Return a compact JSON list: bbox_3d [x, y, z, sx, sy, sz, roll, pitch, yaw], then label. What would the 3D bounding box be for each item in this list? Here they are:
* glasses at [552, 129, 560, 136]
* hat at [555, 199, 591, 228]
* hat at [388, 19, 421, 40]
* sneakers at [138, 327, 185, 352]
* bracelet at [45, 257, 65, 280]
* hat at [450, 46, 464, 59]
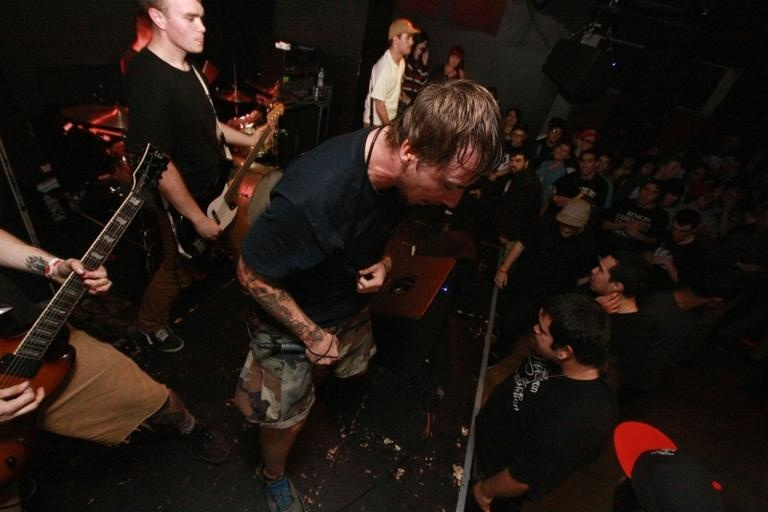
[{"bbox_3d":[1.323,-0.938,4.064,0.043,0.018,0.044,8,26,-5],"label":"glasses"},{"bbox_3d":[1.301,-0.286,3.647,0.156,0.107,0.220,25,43,30],"label":"hat"},{"bbox_3d":[0.204,-2.058,4.944,0.296,0.153,0.201,-3,42,6],"label":"hat"},{"bbox_3d":[-1.550,0.612,3.821,0.344,0.141,0.139,15,57,-21],"label":"sneakers"},{"bbox_3d":[-1.787,0.067,2.873,0.042,0.081,0.108,8,27,15],"label":"bracelet"},{"bbox_3d":[0.692,-1.927,5.056,0.099,0.098,0.104,6,33,-17],"label":"hat"}]
